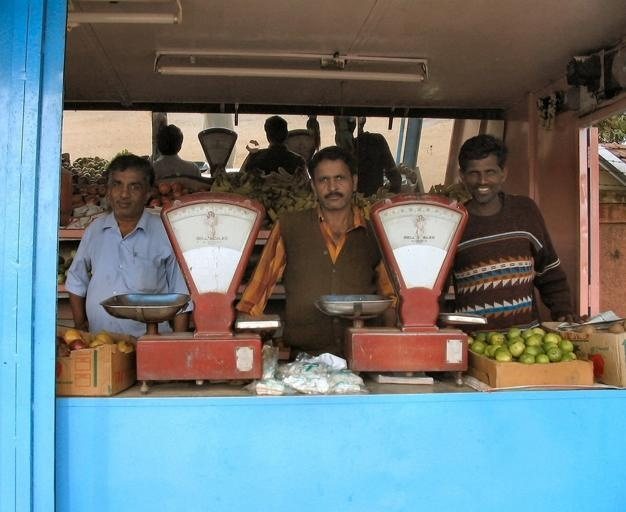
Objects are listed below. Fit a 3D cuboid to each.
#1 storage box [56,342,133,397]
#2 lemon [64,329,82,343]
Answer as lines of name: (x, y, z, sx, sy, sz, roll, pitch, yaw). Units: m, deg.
storage box: (-0.834, 0.432, 2.849, 0.223, 0.123, 0.211, 0, -3, -6)
lemon: (-0.966, 0.323, 2.970, 0.068, 0.055, 0.104, -1, -2, -22)
